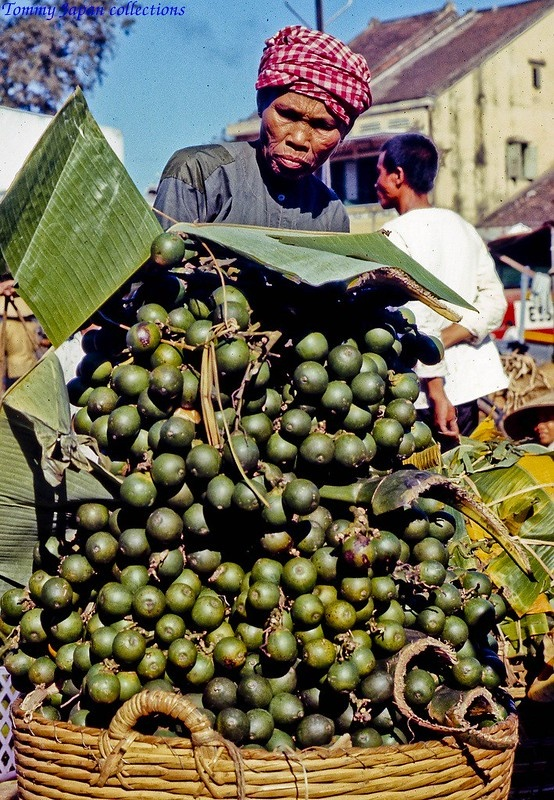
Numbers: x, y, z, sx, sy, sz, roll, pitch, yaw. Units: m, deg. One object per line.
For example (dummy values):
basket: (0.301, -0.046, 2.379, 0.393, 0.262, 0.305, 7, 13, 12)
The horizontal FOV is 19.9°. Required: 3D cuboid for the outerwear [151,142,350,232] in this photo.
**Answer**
outerwear: (-0.175, -0.647, 4.958, 0.138, 0.286, 0.594, -1, 0, 29)
